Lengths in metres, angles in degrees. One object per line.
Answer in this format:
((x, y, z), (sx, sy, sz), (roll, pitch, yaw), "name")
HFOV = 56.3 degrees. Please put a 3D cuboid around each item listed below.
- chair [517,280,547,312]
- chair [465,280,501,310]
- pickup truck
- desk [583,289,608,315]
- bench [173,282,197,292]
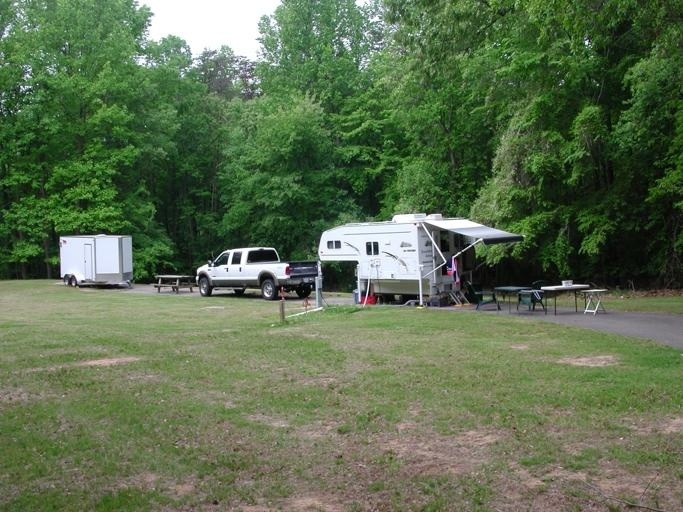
((5.827, 1.234, 19.680), (0.880, 1.157, 0.976), (0, -3, 0), "chair")
((4.666, 1.299, 21.416), (0.855, 0.971, 0.835), (-5, 3, 7), "chair")
((-3.602, 0.738, 26.542), (5.461, 2.145, 1.267), (5, 12, 34), "pickup truck")
((7.860, 1.424, 19.927), (0.513, 0.476, 0.632), (1, -4, -12), "desk")
((-7.515, 1.341, 30.277), (0.651, 0.378, 0.747), (0, 4, 7), "bench")
